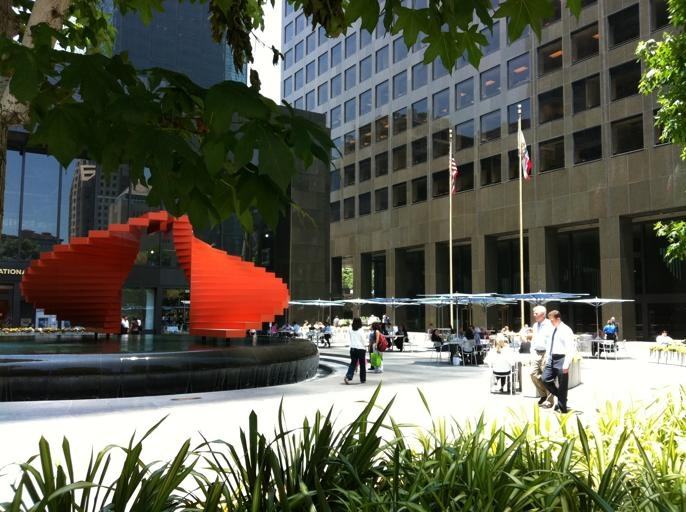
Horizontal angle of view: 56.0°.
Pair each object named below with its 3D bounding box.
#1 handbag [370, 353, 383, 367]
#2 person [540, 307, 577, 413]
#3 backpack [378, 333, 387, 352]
[{"bbox_3d":[1.014,3.191,19.699,0.311,0.453,0.574,0,-8,2],"label":"handbag"},{"bbox_3d":[4.061,1.969,12.133,0.579,1.874,1.490,-2,-8,19],"label":"person"},{"bbox_3d":[1.260,2.782,20.896,0.283,0.586,0.734,-1,-8,8],"label":"backpack"}]
